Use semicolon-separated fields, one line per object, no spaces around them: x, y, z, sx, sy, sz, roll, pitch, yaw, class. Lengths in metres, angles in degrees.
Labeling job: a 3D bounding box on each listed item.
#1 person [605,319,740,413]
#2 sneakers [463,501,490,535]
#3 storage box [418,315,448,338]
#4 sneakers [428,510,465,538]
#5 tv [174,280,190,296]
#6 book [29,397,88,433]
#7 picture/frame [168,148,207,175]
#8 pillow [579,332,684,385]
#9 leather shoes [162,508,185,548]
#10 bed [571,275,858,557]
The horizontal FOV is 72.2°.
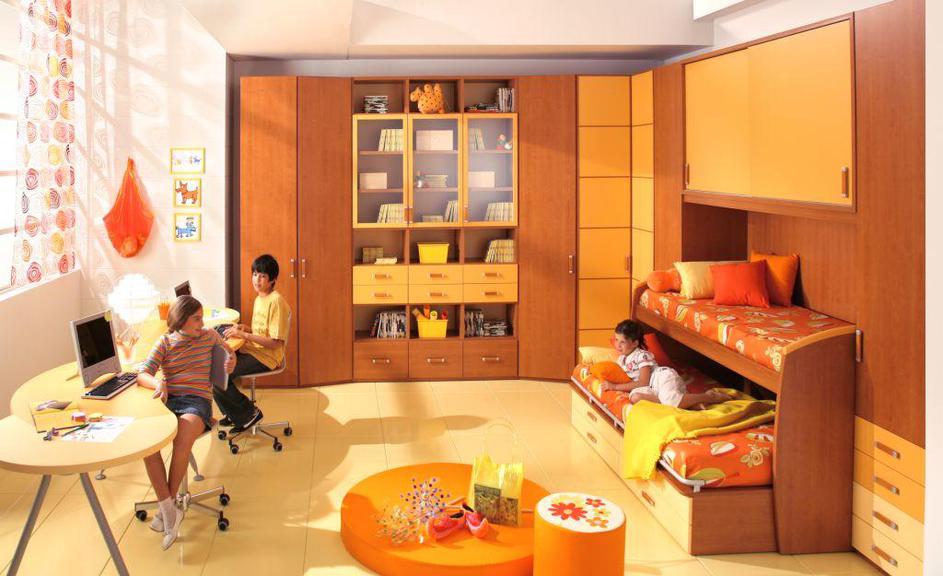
1.801;0.720;5.985;1.434;0.574;0.619;17;15;21;person
0.016;1.717;4.803;0.140;0.148;0.270;-7;11;-31;sneakers
-0.491;0.472;7.940;0.352;0.194;0.228;0;3;-2;storage box
-0.200;1.738;4.753;0.113;0.101;0.306;1;2;37;sneakers
-2.853;0.004;6.349;0.015;0.184;0.201;5;-1;19;tv
-2.806;0.858;4.385;0.290;0.113;0.414;-8;11;-37;book
-3.314;-1.467;7.454;0.370;0.251;0.026;0;0;-8;picture/frame
1.450;0.721;6.365;0.685;0.223;0.640;-6;13;-9;pillow
-2.236;1.773;4.742;0.117;0.127;0.324;-2;9;3;leather shoes
1.896;0.509;5.574;1.679;1.827;3.056;0;7;-7;bed
